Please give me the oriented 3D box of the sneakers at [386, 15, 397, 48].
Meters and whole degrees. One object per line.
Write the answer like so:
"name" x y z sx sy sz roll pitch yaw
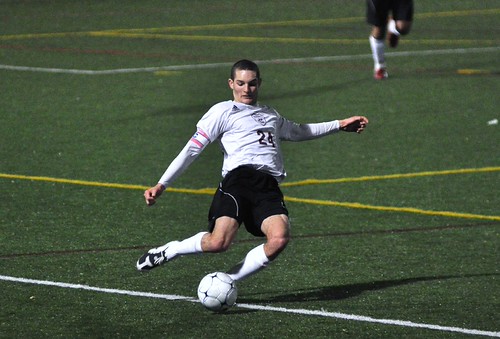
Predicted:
"sneakers" 2.071 -1.966 12.876 0.169 0.377 0.162 2 54 -2

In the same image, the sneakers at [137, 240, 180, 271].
"sneakers" -1.089 0.994 10.064 0.544 0.241 0.172 -20 28 -14
